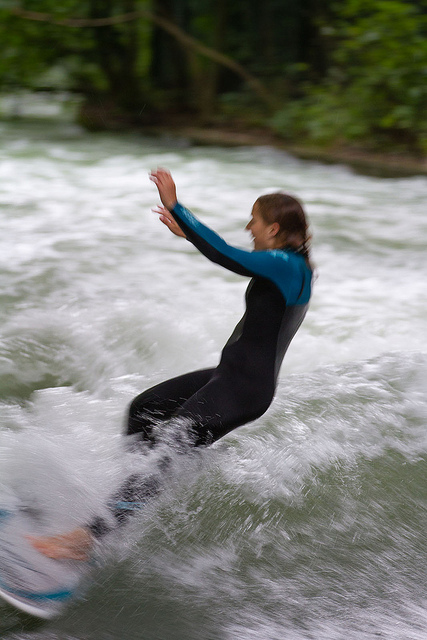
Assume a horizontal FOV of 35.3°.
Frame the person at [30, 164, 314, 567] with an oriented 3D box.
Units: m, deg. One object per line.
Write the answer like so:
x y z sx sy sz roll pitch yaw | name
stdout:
-0.164 0.112 2.190 1.002 1.176 0.446 -21 33 -41 | person

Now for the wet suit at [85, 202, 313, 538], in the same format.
-0.023 0.146 2.197 0.637 1.045 0.558 4 25 6 | wet suit
